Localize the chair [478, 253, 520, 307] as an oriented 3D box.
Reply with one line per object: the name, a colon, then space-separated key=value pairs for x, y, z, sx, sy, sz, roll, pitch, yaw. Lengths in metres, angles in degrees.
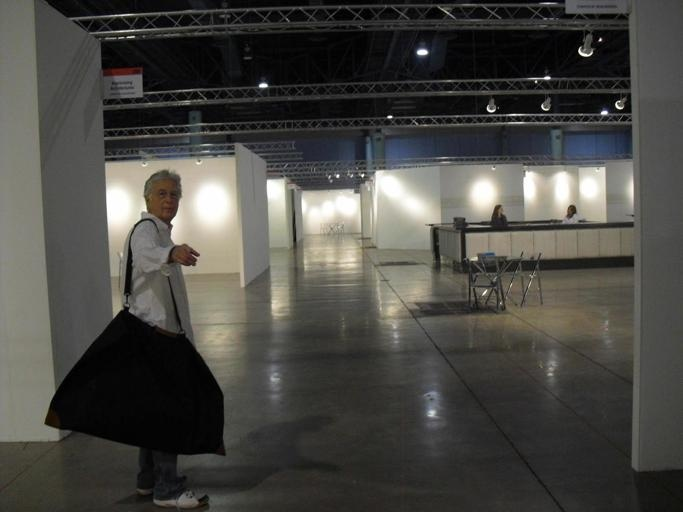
chair: x=2.644 y=0.402 z=9.061 sx=0.655 sy=0.877 sz=0.743 roll=10 pitch=-17 yaw=11

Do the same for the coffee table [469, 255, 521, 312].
coffee table: x=2.584 y=0.393 z=9.299 sx=0.817 sy=0.871 sz=0.695 roll=8 pitch=7 yaw=33

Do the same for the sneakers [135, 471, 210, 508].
sneakers: x=-1.131 y=1.550 z=3.633 sx=0.551 sy=0.307 sz=0.206 roll=1 pitch=-5 yaw=-4

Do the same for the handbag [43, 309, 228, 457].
handbag: x=-1.471 y=0.904 z=3.692 sx=0.824 sy=0.889 sz=0.234 roll=18 pitch=-3 yaw=-5

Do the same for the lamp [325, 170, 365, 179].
lamp: x=0.148 y=-3.770 z=24.244 sx=1.428 sy=0.255 sz=0.312 roll=-1 pitch=-10 yaw=-28

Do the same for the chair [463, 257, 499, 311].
chair: x=2.466 y=0.440 z=8.941 sx=0.449 sy=0.858 sz=0.528 roll=-5 pitch=-4 yaw=20
